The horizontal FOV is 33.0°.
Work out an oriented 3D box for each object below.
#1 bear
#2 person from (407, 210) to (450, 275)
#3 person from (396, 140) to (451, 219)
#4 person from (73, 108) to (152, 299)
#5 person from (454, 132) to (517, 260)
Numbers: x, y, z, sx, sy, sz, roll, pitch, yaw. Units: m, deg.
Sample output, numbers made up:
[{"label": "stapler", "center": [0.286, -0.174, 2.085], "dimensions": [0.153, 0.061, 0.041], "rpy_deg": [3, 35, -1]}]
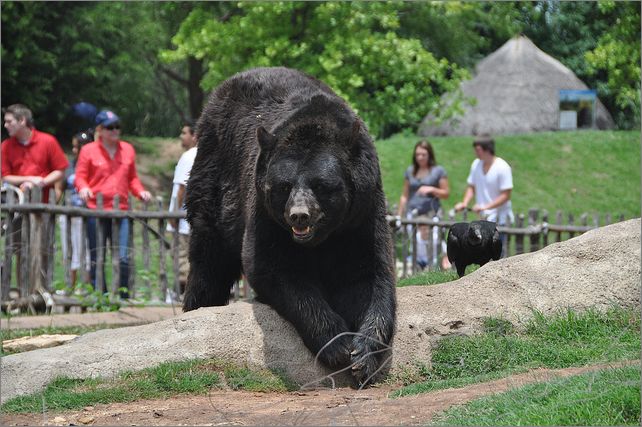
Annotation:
[{"label": "bear", "center": [-0.443, -0.093, 14.628], "dimensions": [2.822, 3.882, 1.442], "rpy_deg": [0, 0, 41]}, {"label": "person", "center": [1.855, 0.466, 18.517], "dimensions": [0.735, 1.062, 1.385], "rpy_deg": [0, 1, 5]}, {"label": "person", "center": [1.701, -0.576, 18.406], "dimensions": [0.557, 1.242, 0.891], "rpy_deg": [-1, 0, -36]}, {"label": "person", "center": [-3.364, -0.113, 17.232], "dimensions": [1.118, 2.138, 0.841], "rpy_deg": [-1, 0, -16]}, {"label": "person", "center": [2.668, -0.524, 17.397], "dimensions": [0.807, 1.404, 1.318], "rpy_deg": [0, 0, 10]}]
